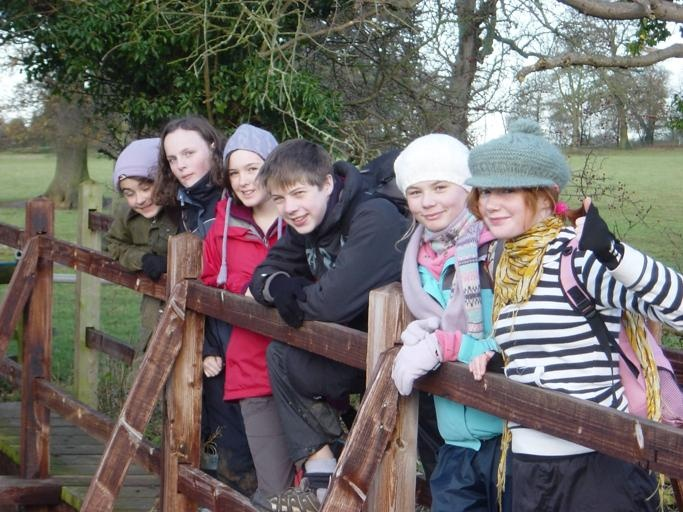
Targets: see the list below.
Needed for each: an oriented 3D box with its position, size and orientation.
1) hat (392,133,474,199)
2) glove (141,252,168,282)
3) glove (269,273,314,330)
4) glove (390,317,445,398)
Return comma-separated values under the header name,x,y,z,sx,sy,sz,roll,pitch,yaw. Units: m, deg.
name,x,y,z,sx,sy,sz,roll,pitch,yaw
hat,0.405,-0.419,3.105,0.279,0.265,0.223,-28,6,7
glove,-1.068,0.069,4.104,0.139,0.151,0.060,37,1,25
glove,-0.249,0.206,3.310,0.192,0.237,0.214,1,1,7
glove,0.290,0.393,2.815,0.076,0.281,0.203,30,-1,-27
